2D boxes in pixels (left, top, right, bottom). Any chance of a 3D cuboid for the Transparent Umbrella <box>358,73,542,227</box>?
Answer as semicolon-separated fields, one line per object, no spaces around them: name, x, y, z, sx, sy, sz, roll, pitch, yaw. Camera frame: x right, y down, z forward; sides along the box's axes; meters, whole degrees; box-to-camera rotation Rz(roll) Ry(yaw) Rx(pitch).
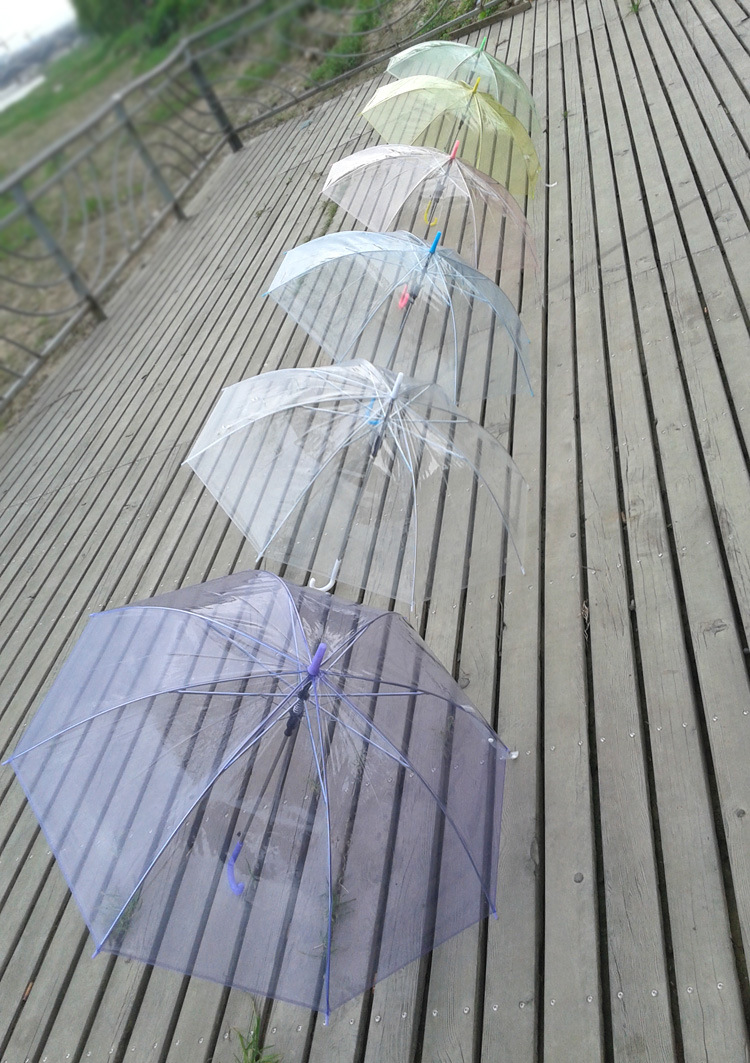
Transparent Umbrella;0.367;-1.831;3.228;0.425;0.855;0.848;-41;7;17
